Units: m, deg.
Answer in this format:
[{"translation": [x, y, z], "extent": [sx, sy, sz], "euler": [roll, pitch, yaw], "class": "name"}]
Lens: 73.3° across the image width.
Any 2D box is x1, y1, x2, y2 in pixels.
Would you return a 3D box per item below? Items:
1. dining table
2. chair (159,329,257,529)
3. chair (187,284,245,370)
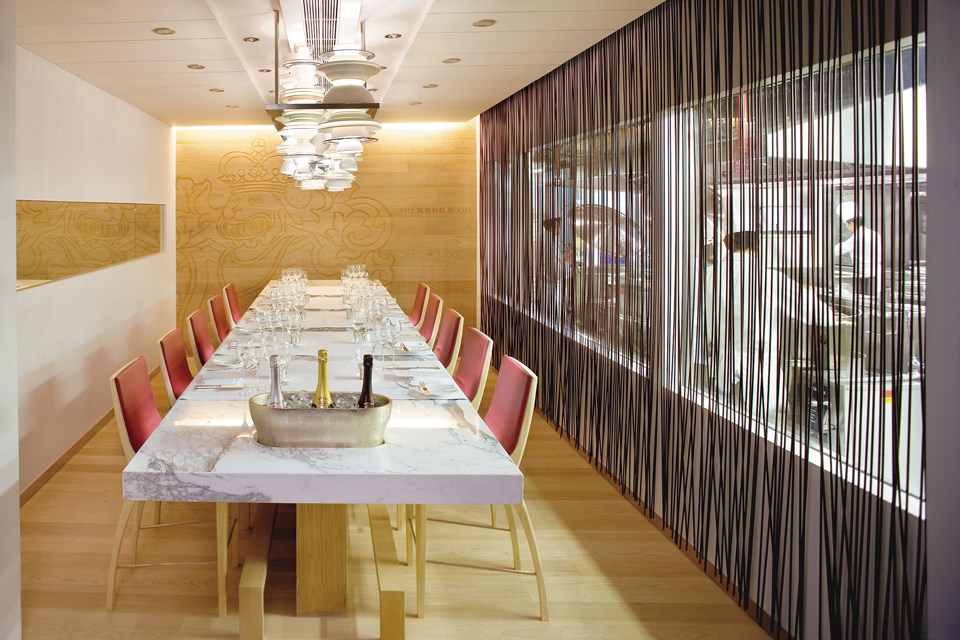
[{"translation": [-0.956, 0.749, 4.074], "extent": [1.505, 0.715, 3.386], "euler": [4, 6, -15], "class": "dining table"}, {"translation": [-1.886, 0.506, 4.428], "extent": [0.605, 0.787, 0.568], "euler": [2, 12, -26], "class": "chair"}, {"translation": [-2.541, 0.044, 6.210], "extent": [0.377, 0.418, 1.160], "euler": [-1, 10, -9], "class": "chair"}]
